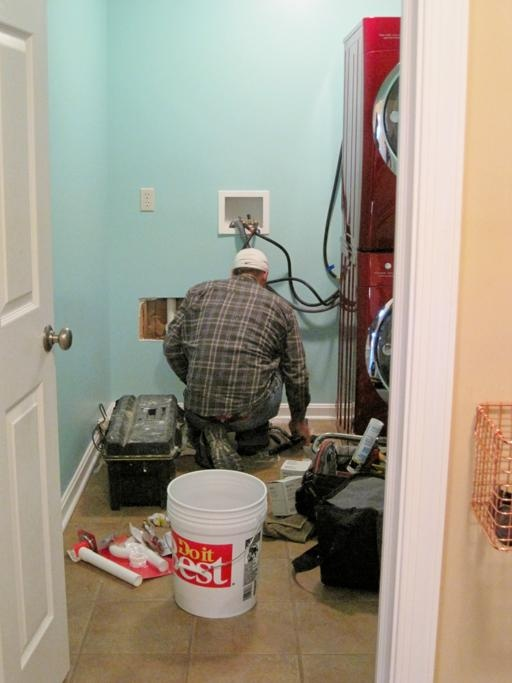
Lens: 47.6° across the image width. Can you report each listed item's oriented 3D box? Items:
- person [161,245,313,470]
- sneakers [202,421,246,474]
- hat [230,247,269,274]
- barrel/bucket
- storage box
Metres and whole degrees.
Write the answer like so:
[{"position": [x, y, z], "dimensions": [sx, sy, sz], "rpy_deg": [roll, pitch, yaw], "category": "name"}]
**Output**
[{"position": [-0.062, 0.118, 3.028], "dimensions": [0.733, 1.209, 0.699], "rpy_deg": [6, -4, -3], "category": "person"}, {"position": [-0.166, 0.504, 2.818], "dimensions": [0.175, 0.205, 0.384], "rpy_deg": [0, 9, -5], "category": "sneakers"}, {"position": [-0.026, -0.429, 3.079], "dimensions": [0.121, 0.156, 0.158], "rpy_deg": [5, 11, 16], "category": "hat"}, {"position": [-0.117, 0.616, 1.733], "dimensions": [0.285, 0.384, 0.285], "rpy_deg": [0, 9, 0], "category": "barrel/bucket"}, {"position": [-0.520, 0.463, 2.656], "dimensions": [0.366, 0.340, 0.562], "rpy_deg": [0, 22, -7], "category": "storage box"}]
